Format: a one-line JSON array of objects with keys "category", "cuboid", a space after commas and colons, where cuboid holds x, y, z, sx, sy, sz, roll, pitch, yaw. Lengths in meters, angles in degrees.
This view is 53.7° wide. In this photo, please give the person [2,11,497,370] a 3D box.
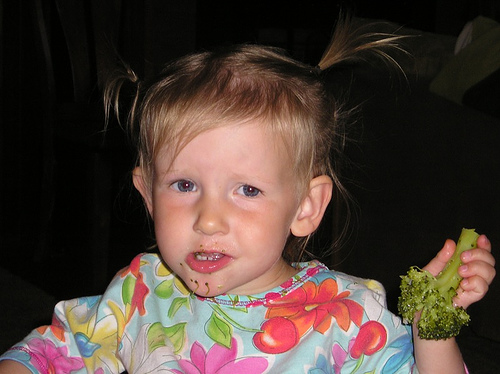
[{"category": "person", "cuboid": [0.058, -0.029, 1.659, 1.225, 1.637, 0.699, 0, 5, 5]}]

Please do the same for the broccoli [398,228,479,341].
[{"category": "broccoli", "cuboid": [0.468, 0.271, 1.302, 0.188, 0.271, 0.139, 39, -5, 8]}]
